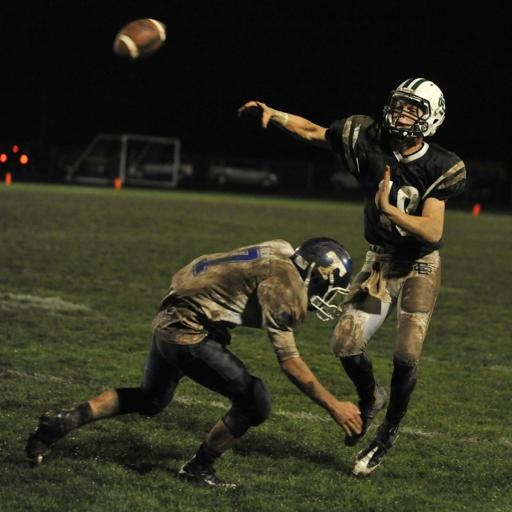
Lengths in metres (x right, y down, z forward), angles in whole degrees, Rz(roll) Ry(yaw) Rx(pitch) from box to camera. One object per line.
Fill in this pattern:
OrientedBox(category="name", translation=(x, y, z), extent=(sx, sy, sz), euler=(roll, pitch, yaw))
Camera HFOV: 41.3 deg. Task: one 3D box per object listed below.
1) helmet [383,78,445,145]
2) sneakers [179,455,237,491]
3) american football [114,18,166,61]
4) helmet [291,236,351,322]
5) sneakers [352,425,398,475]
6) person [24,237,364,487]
OrientedBox(category="helmet", translation=(0.961, -0.898, 4.082), extent=(0.367, 0.371, 0.361), euler=(9, 12, 5))
OrientedBox(category="sneakers", translation=(-0.250, 1.098, 3.490), extent=(0.300, 0.132, 0.091), euler=(25, -21, -22))
OrientedBox(category="american football", translation=(-0.717, -1.365, 4.332), extent=(0.373, 0.208, 0.191), euler=(-30, -19, -24))
OrientedBox(category="helmet", translation=(0.336, 0.097, 3.675), extent=(0.422, 0.376, 0.300), euler=(20, 4, 5))
OrientedBox(category="sneakers", translation=(0.687, 1.081, 3.869), extent=(0.128, 0.146, 0.413), euler=(29, 30, 24))
OrientedBox(category="person", translation=(-0.321, 0.511, 3.707), extent=(1.788, 1.056, 0.899), euler=(-1, 1, 1))
